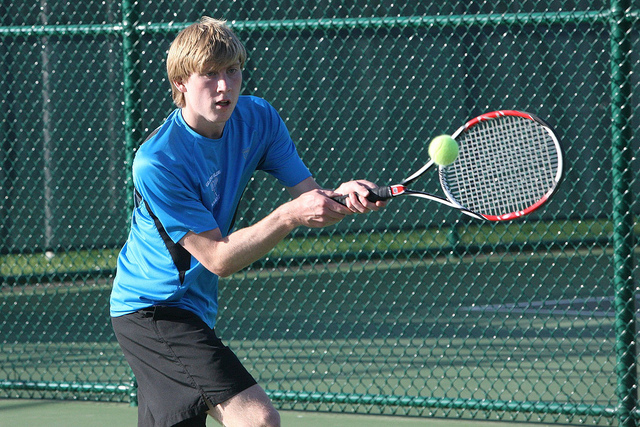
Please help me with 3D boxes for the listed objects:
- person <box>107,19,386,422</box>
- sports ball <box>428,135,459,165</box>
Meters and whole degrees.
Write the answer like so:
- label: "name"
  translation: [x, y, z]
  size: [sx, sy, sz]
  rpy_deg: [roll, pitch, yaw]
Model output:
- label: "person"
  translation: [-0.590, 0.064, 4.144]
  size: [1.321, 2.227, 0.465]
  rpy_deg: [-8, -5, 0]
- label: "sports ball"
  translation: [0.693, -0.357, 4.148]
  size: [0.139, 0.173, 0.155]
  rpy_deg: [-3, 1, -1]
